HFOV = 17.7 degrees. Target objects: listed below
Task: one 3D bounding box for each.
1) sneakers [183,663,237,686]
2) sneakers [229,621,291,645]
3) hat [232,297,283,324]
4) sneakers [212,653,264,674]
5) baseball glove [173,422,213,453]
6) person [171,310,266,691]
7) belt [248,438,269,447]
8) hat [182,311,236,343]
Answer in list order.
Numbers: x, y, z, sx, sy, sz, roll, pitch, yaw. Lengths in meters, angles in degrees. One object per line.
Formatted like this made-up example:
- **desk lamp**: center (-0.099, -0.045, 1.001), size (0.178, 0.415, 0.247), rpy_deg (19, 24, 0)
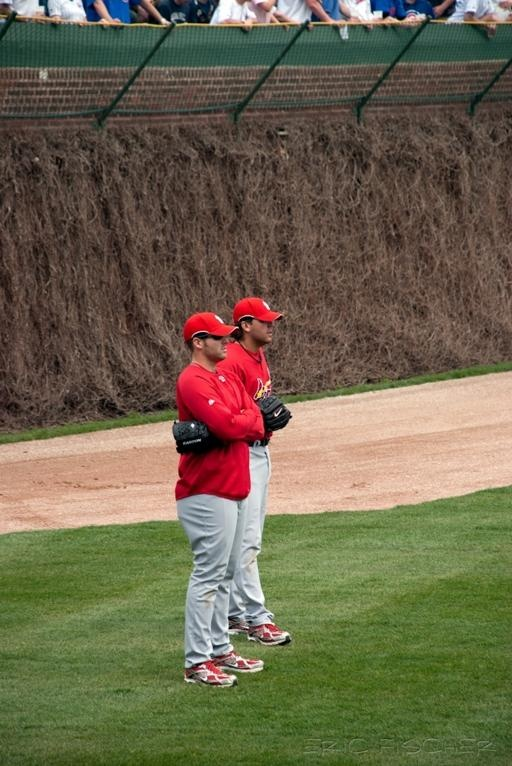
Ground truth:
- **sneakers**: center (-0.266, 1.618, 9.089), size (0.284, 0.156, 0.121), rpy_deg (4, 4, 8)
- **sneakers**: center (0.015, 1.481, 9.674), size (0.372, 0.186, 0.145), rpy_deg (3, 7, 27)
- **hat**: center (-0.025, -0.431, 9.917), size (0.231, 0.141, 0.162), rpy_deg (1, 10, 16)
- **sneakers**: center (-0.111, 1.574, 9.202), size (0.277, 0.149, 0.117), rpy_deg (1, 1, 4)
- **baseball glove**: center (-0.351, 0.306, 9.040), size (0.223, 0.256, 0.155), rpy_deg (-3, -6, 4)
- **person**: center (-0.218, 0.639, 9.173), size (0.563, 1.973, 0.756), rpy_deg (4, 11, -3)
- **belt**: center (0.010, 0.360, 9.738), size (0.072, 0.031, 0.058), rpy_deg (-11, 0, 10)
- **hat**: center (-0.284, -0.312, 9.225), size (0.213, 0.147, 0.164), rpy_deg (-1, 9, 9)
